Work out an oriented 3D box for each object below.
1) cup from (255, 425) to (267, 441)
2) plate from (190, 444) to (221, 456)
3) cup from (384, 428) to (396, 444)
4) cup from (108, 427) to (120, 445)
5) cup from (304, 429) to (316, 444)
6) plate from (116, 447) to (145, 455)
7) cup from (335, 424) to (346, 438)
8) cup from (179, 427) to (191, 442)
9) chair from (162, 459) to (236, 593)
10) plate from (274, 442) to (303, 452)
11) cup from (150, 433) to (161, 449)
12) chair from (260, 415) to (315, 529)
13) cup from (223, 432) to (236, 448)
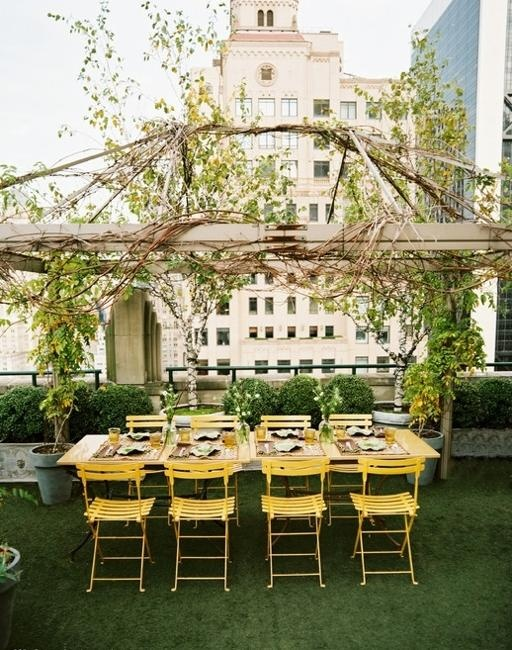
[{"bbox_3d":[0.054,1.013,5.721,0.117,0.132,0.116,0,-7,0],"label":"cup"},{"bbox_3d":[-0.436,1.081,5.242,0.250,0.041,0.207,-1,8,-4],"label":"plate"},{"bbox_3d":[1.196,0.997,5.528,0.123,0.130,0.122,0,-1,0],"label":"cup"},{"bbox_3d":[-1.294,1.018,5.636,0.135,0.146,0.137,2,-2,0],"label":"cup"},{"bbox_3d":[0.488,1.017,5.600,0.117,0.126,0.117,0,-4,0],"label":"cup"},{"bbox_3d":[-1.073,1.086,5.296,0.236,0.052,0.118,-2,8,-11],"label":"plate"},{"bbox_3d":[0.781,1.000,5.738,0.098,0.109,0.102,-1,-2,0],"label":"cup"},{"bbox_3d":[-0.637,0.995,5.570,0.117,0.116,0.117,0,11,0],"label":"cup"},{"bbox_3d":[-0.433,1.521,4.953,0.606,0.941,0.705,-1,-2,6],"label":"chair"},{"bbox_3d":[0.269,1.062,5.297,0.226,0.046,0.138,0,8,1],"label":"plate"},{"bbox_3d":[-0.900,1.031,5.493,0.104,0.102,0.095,1,11,0],"label":"cup"},{"bbox_3d":[0.272,1.284,5.432,0.373,0.508,0.897,-1,6,0],"label":"chair"},{"bbox_3d":[-0.239,1.031,5.520,0.114,0.090,0.114,0,-6,0],"label":"cup"}]
